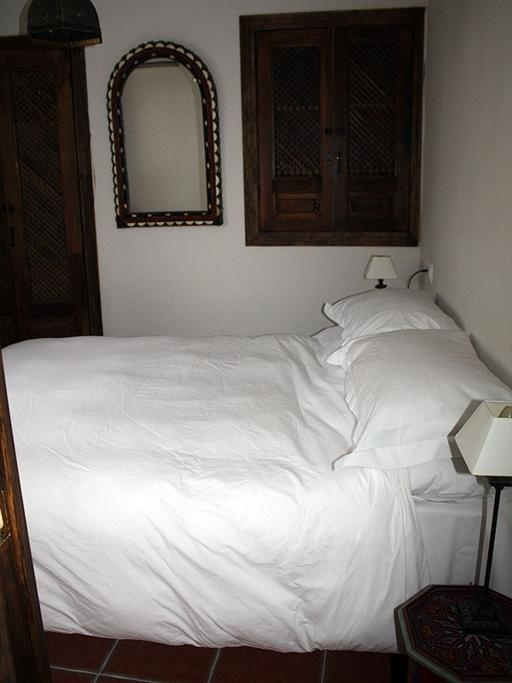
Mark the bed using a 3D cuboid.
[{"bbox_3d":[-0.105,0.477,1.425,1.151,0.318,1.016,0,44,1],"label":"bed"}]
